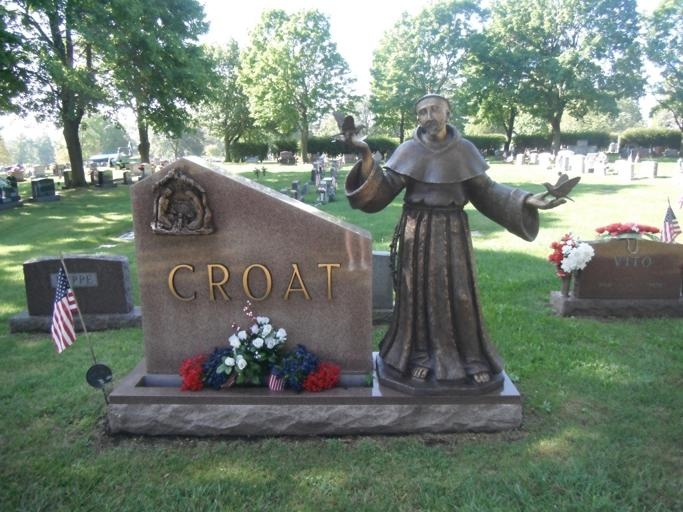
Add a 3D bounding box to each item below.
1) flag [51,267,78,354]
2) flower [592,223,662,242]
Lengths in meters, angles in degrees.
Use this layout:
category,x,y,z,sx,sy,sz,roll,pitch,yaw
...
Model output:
category,x,y,z,sx,sy,sz,roll,pitch,yaw
flag,-3.964,0.754,8.550,0.298,1.251,0.463,-4,9,-8
flower,5.411,-0.481,11.341,1.001,0.317,0.670,-2,8,7
